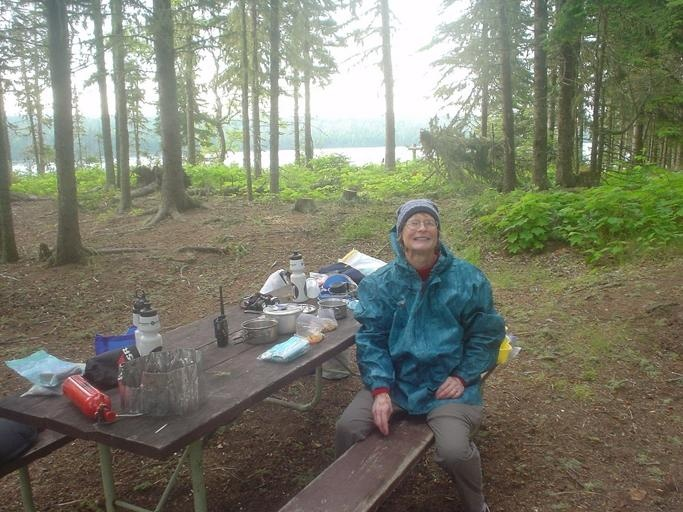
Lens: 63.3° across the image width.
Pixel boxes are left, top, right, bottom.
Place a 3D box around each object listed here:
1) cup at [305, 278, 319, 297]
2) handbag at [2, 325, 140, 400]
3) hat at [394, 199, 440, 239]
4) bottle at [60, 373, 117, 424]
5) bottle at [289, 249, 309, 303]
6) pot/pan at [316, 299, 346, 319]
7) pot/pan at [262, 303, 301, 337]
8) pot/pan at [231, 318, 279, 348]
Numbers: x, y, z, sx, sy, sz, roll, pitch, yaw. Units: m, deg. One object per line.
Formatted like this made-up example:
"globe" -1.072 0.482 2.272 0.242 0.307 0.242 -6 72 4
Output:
"cup" -0.267 0.300 5.181 0.155 0.158 0.149 -2 4 0
"handbag" -1.935 0.756 4.047 0.825 0.241 0.537 -4 13 14
"hat" 0.639 -0.335 4.686 0.297 0.309 0.360 2 3 1
"bottle" -1.716 0.971 3.802 0.482 0.250 0.166 3 11 38
"bottle" -0.424 0.207 5.204 0.184 0.482 0.186 -6 2 0
"pot/pan" -0.076 0.444 4.948 0.184 0.087 0.211 3 13 14
"pot/pan" -0.486 0.539 4.736 0.302 0.215 0.347 -2 6 20
"pot/pan" -0.665 0.617 4.509 0.209 0.101 0.309 6 16 24
